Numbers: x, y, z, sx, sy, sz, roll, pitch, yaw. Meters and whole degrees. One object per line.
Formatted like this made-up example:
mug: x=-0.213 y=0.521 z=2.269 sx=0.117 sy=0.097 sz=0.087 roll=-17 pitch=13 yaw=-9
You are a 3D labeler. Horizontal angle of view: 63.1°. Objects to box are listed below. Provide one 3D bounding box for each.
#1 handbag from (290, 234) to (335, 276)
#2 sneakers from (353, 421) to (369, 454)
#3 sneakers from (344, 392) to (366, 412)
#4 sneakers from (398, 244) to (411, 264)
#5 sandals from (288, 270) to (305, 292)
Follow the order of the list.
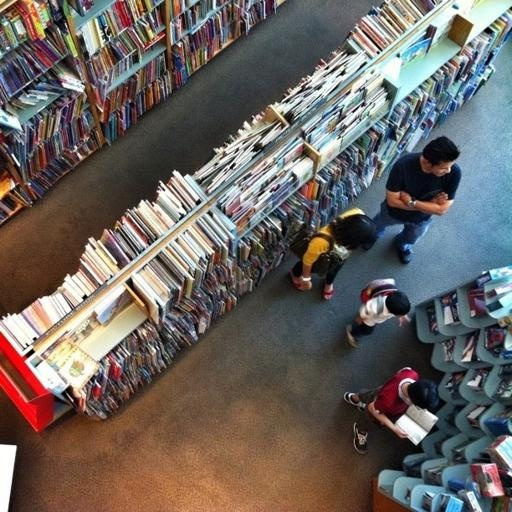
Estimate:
handbag: x=0.458 y=-0.021 z=3.357 sx=0.207 sy=0.335 sz=0.232 roll=-16 pitch=84 yaw=-15
sneakers: x=0.916 y=1.626 z=3.645 sx=0.114 sy=0.080 sz=0.203 roll=0 pitch=72 yaw=-8
sneakers: x=0.875 y=1.309 z=3.737 sx=0.199 sy=0.078 sz=0.092 roll=35 pitch=92 yaw=7
sneakers: x=1.534 y=-0.021 z=4.316 sx=0.105 sy=0.092 sz=0.209 roll=-6 pitch=98 yaw=7
sandals: x=0.388 y=0.253 z=4.098 sx=0.084 sy=0.096 sz=0.232 roll=-24 pitch=91 yaw=-1
